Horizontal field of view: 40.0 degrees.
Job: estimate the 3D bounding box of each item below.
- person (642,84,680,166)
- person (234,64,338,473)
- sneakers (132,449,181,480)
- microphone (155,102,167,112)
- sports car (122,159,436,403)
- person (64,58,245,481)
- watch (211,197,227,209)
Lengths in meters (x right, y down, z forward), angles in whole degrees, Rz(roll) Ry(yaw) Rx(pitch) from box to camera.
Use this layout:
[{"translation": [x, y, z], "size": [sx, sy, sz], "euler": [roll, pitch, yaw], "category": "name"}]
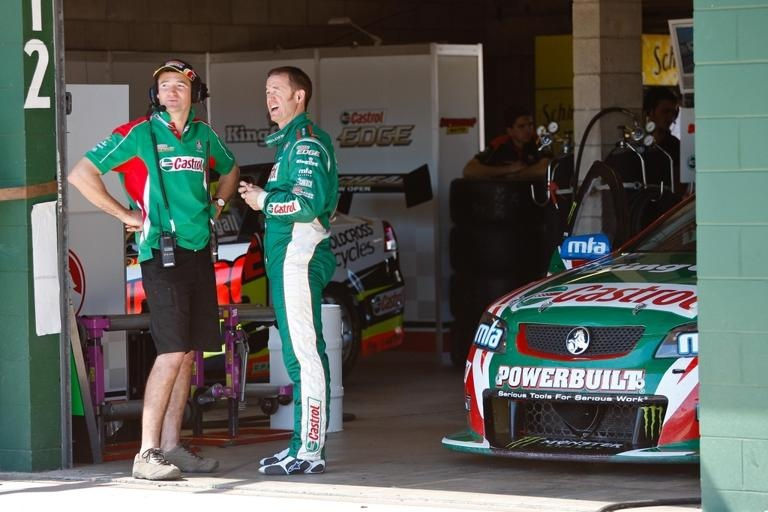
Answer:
[{"translation": [3.098, -1.470, 11.745], "size": [0.376, 0.864, 0.701], "euler": [0, 7, 13], "category": "person"}, {"translation": [-0.574, 0.236, 6.694], "size": [0.592, 2.268, 0.409], "euler": [-2, 6, -3], "category": "person"}, {"translation": [-1.409, 1.294, 6.509], "size": [0.346, 0.148, 0.143], "euler": [-3, -4, 34], "category": "sneakers"}, {"translation": [-1.447, -0.970, 6.820], "size": [0.041, 0.050, 0.179], "euler": [7, 9, -30], "category": "microphone"}, {"translation": [-0.948, 0.086, 10.368], "size": [3.330, 1.292, 1.577], "euler": [0, 0, -25], "category": "sports car"}, {"translation": [-1.339, 0.059, 6.805], "size": [0.692, 2.636, 0.973], "euler": [4, 9, 44], "category": "person"}, {"translation": [-1.099, -0.353, 6.995], "size": [0.084, 0.050, 0.075], "euler": [8, 10, -39], "category": "watch"}]
